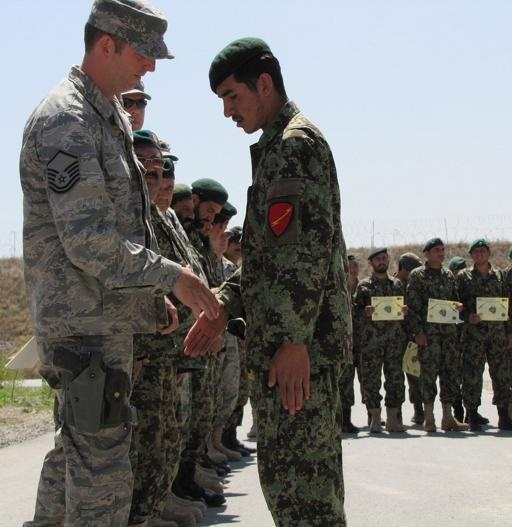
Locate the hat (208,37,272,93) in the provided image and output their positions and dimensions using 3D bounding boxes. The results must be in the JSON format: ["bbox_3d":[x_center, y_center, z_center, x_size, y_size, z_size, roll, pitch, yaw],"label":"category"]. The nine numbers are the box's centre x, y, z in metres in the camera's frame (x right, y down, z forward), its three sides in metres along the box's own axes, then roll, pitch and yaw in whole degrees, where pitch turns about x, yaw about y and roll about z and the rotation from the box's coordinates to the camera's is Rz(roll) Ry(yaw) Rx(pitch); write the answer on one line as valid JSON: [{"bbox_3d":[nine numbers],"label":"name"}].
[{"bbox_3d":[-0.094,-0.980,4.564,0.347,0.162,0.314,-26,3,16],"label":"hat"}]

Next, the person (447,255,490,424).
[{"bbox_3d":[2.477,0.938,11.322,0.652,2.067,0.495,-5,6,-24],"label":"person"}]
